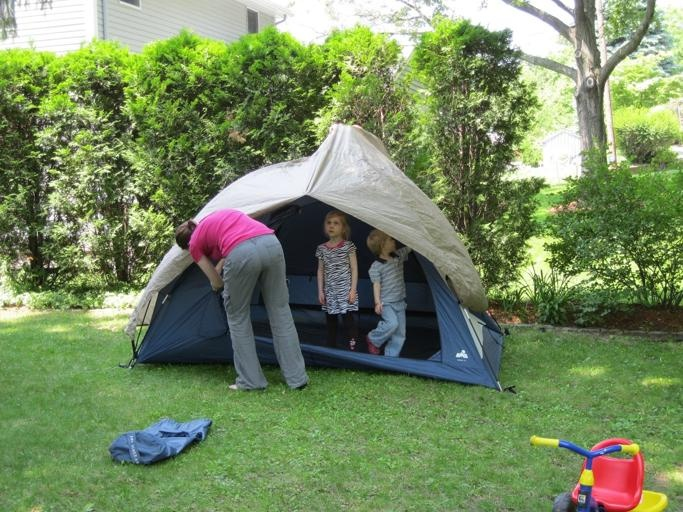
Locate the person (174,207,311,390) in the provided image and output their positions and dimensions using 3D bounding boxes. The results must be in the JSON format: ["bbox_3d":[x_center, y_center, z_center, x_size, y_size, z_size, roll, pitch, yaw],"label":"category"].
[{"bbox_3d":[-0.875,0.413,5.344,1.018,1.732,0.380,-3,-2,-3],"label":"person"}]

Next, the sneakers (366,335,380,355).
[{"bbox_3d":[0.331,0.949,6.109,0.103,0.219,0.095,-10,-35,-25],"label":"sneakers"}]
